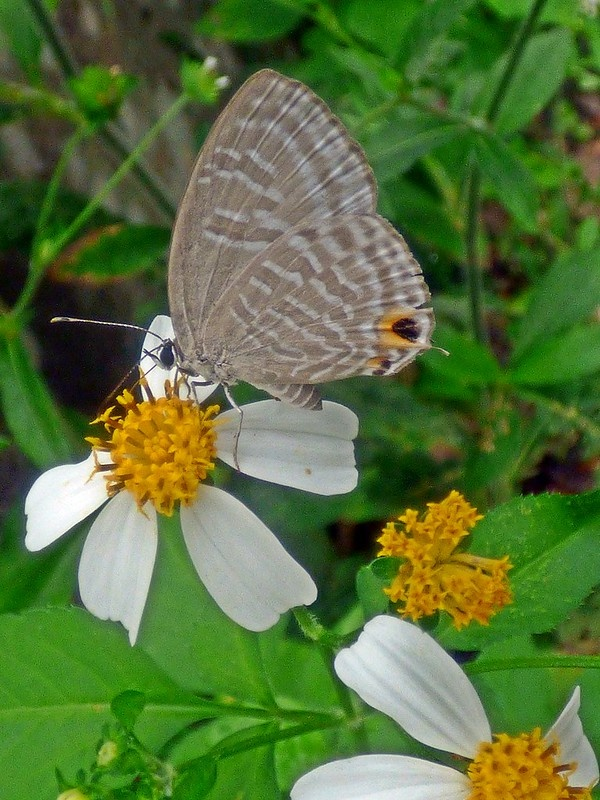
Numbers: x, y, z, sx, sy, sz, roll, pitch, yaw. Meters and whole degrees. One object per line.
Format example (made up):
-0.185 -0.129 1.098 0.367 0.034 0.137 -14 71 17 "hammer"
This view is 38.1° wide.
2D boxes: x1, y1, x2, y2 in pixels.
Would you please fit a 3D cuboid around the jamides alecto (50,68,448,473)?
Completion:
-0.019 -0.178 1.036 0.611 0.451 0.401 -2 19 -3 "jamides alecto"
